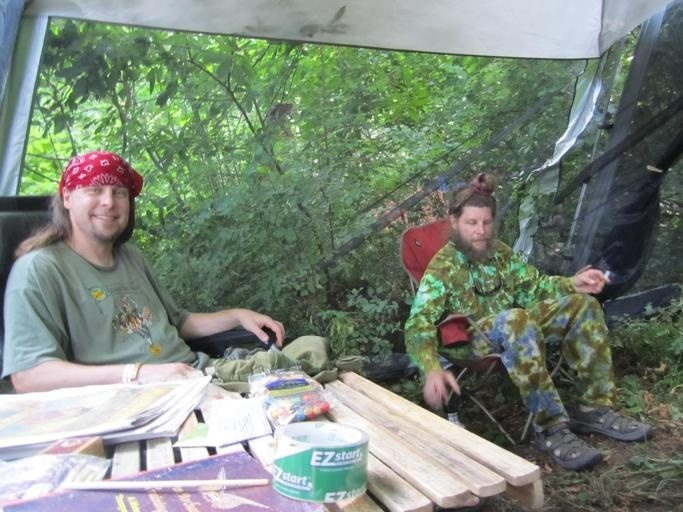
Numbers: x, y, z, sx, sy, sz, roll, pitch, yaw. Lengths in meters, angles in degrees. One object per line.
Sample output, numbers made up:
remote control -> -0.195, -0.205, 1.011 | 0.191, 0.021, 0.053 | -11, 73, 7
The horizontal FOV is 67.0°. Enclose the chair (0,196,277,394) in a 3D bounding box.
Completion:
chair -> -0.774, 0.078, 2.477 | 1.062, 1.010, 0.769 | -1, 4, 12

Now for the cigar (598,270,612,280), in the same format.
cigar -> 1.935, 0.137, 3.769 | 0.068, 0.066, 0.017 | 17, -24, -31

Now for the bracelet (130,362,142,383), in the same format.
bracelet -> -0.850, 0.472, 2.114 | 0.014, 0.049, 0.051 | 15, -8, -32

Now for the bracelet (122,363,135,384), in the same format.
bracelet -> -0.872, 0.477, 2.108 | 0.041, 0.056, 0.056 | 4, 36, -9

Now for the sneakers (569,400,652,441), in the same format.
sneakers -> 1.655, 1.019, 3.235 | 0.492, 0.214, 0.182 | -1, 5, 22

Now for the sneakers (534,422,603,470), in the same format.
sneakers -> 1.255, 1.043, 2.912 | 0.214, 0.158, 0.369 | -19, 18, -38

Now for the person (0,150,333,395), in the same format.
person -> -0.731, 0.037, 2.593 | 1.469, 1.067, 0.969 | 2, 4, 2
